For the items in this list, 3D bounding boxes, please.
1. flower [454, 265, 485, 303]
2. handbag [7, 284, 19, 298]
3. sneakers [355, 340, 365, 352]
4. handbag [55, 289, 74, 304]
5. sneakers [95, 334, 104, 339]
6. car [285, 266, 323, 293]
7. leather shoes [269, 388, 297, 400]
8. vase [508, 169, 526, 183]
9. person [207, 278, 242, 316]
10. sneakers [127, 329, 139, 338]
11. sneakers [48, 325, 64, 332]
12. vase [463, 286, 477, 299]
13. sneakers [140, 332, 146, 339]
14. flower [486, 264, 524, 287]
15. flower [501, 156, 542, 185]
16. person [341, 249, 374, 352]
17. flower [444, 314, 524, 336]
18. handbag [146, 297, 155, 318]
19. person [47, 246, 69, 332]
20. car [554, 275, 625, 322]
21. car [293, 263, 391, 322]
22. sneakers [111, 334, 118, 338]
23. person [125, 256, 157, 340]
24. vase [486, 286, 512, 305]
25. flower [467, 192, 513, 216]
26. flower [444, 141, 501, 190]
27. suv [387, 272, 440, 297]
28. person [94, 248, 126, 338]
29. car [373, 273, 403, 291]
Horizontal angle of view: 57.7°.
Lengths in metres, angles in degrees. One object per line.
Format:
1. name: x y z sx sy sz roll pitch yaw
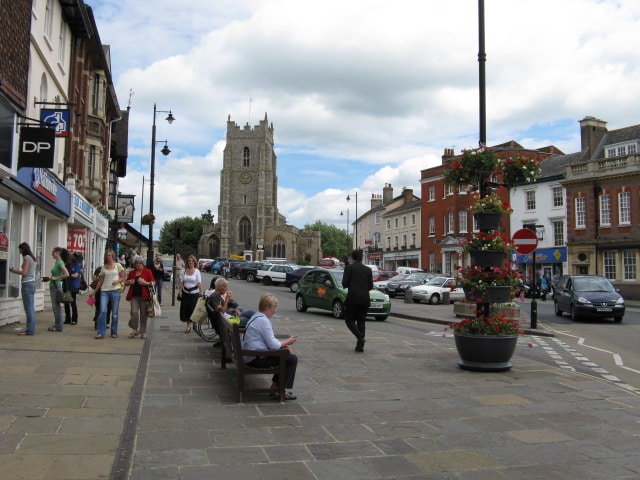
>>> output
1. flower: 2.875 0.869 11.305 0.713 0.779 0.590 1 -7 2
2. handbag: -7.825 1.307 14.870 0.259 0.356 0.362 -1 -5 -3
3. sneakers: 0.866 2.294 12.719 0.199 0.237 0.345 2 -1 2
4. handbag: -6.183 1.360 14.046 0.160 0.407 0.388 -23 9 -22
5. sneakers: -4.975 2.184 13.139 0.085 0.098 0.234 0 -13 -10
6. car: -1.144 2.629 38.455 2.549 1.243 1.477 -1 0 4
7. leather shoes: -0.545 2.290 8.622 0.364 0.155 0.190 0 2 1
8. vase: 3.769 -1.214 11.296 0.249 0.090 0.275 3 -13 -14
9. person: -2.081 1.230 12.173 0.710 0.964 0.737 -4 3 -1
10. sneakers: -4.427 2.240 13.783 0.142 0.156 0.393 -1 -11 -8
11. sneakers: -6.311 2.119 13.885 0.319 0.136 0.166 5 0 19
12. vase: 2.876 1.011 11.195 0.277 0.283 0.166 -8 -4 43
13. sneakers: -4.156 2.239 13.668 0.097 0.123 0.315 1 -8 -15
14. flower: 3.532 0.691 11.157 0.515 0.368 0.436 7 -2 3
15. flower: 3.912 -1.300 11.390 0.623 0.577 0.641 4 -8 -22
16. person: 0.796 1.317 12.820 0.753 2.284 0.922 4 -12 -17
17. flower: 3.087 1.597 10.874 0.551 0.267 0.691 -2 0 -42
18. handbag: -3.888 1.565 13.372 0.148 0.416 0.323 2 -1 -17
19. person: -6.257 1.173 13.895 0.429 2.117 0.923 2 -1 -25
20. car: 10.327 2.232 22.731 1.575 1.159 2.748 1 -8 -2
21. car: 0.628 1.891 20.909 1.808 1.353 3.047 5 -8 -35
22. sneakers: -4.738 2.225 13.451 0.065 0.083 0.192 3 -9 -27
23. person: -4.190 1.343 13.555 0.635 1.905 1.351 2 -1 -18
24. vase: 3.413 1.047 11.024 0.602 0.274 0.122 3 -1 -18
25. flower: 3.361 -0.704 11.499 0.725 0.333 0.654 2 -1 14
26. flower: 3.060 -1.424 11.647 1.012 0.692 0.386 2 -1 10
27. suv: 5.257 2.561 33.196 1.357 0.895 2.679 -7 -8 44
28. person: -4.812 1.237 13.223 0.567 2.068 0.915 2 -1 -3
29. car: 4.020 2.575 35.381 1.001 0.740 2.167 -4 -8 29
